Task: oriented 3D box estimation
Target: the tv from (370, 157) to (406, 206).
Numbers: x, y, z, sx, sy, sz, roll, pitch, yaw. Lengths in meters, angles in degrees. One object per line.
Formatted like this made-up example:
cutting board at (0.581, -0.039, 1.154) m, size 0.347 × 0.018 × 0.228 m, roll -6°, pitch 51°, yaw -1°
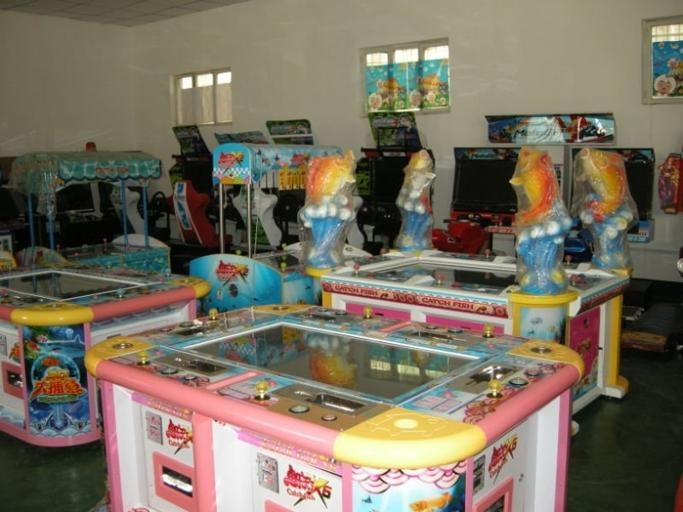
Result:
tv at (0.781, -1.188, 8.598) m, size 0.216 × 0.807 × 0.922 m, roll 12°, pitch 11°, yaw 24°

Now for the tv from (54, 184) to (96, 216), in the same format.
tv at (-4.340, -0.923, 8.714) m, size 0.326 × 0.469 × 0.970 m, roll -4°, pitch 9°, yaw -9°
